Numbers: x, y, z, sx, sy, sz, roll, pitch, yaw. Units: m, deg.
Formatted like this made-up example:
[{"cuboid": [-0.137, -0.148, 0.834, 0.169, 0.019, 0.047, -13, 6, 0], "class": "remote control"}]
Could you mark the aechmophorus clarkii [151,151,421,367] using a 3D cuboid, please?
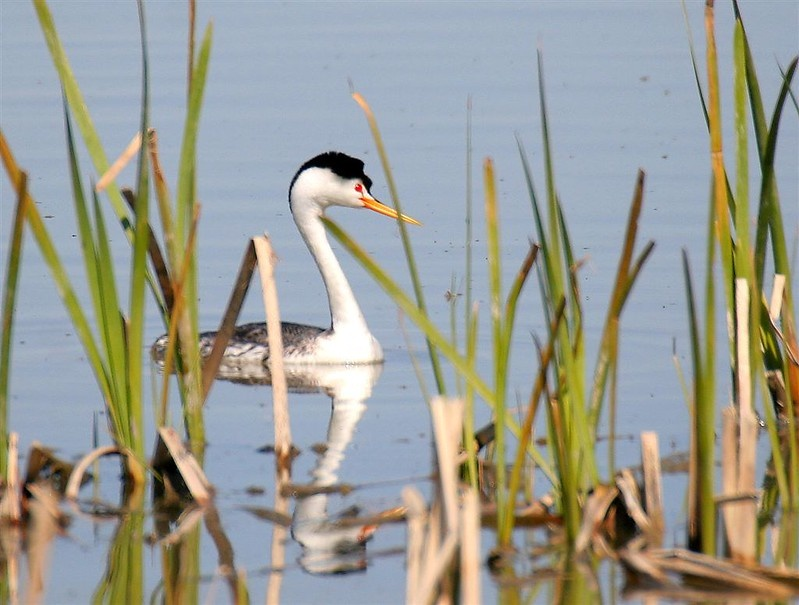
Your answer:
[{"cuboid": [-0.699, -0.318, 10.474, 1.174, 1.727, 0.518, -3, -14, 9], "class": "aechmophorus clarkii"}]
